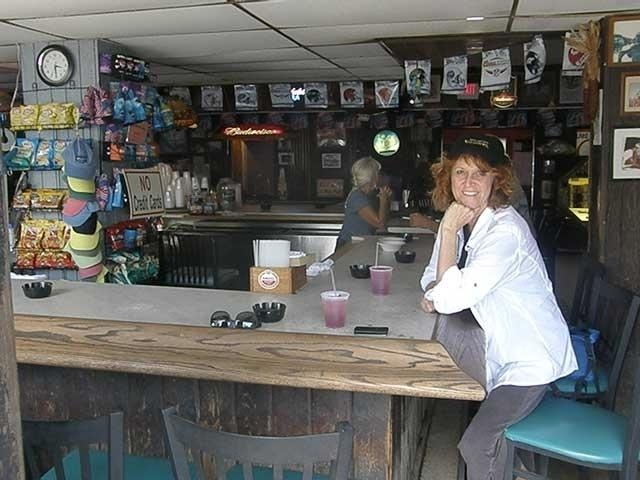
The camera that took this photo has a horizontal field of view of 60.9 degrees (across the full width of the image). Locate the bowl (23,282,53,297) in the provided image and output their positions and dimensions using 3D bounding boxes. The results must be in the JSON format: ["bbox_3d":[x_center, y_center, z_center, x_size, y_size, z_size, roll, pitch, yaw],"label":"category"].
[{"bbox_3d":[-1.550,0.262,3.026,0.107,0.046,0.111,1,-1,0],"label":"bowl"}]

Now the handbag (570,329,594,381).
[{"bbox_3d":[1.402,0.607,2.890,0.176,0.234,0.251,-3,-10,23],"label":"handbag"}]

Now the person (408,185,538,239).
[{"bbox_3d":[1.525,-0.230,4.605,0.880,0.443,0.539,-7,14,-21],"label":"person"}]

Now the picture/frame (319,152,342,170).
[{"bbox_3d":[0.233,-1.596,10.837,0.353,0.260,0.049,2,5,8],"label":"picture/frame"}]

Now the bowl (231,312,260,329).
[{"bbox_3d":[-0.338,0.372,2.471,0.106,0.067,0.107,0,11,0],"label":"bowl"}]

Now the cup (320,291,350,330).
[{"bbox_3d":[0.068,0.322,2.567,0.156,0.163,0.154,0,6,0],"label":"cup"}]

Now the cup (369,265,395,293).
[{"bbox_3d":[0.335,0.211,3.035,0.145,0.124,0.140,0,7,0],"label":"cup"}]

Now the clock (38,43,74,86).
[{"bbox_3d":[-2.288,-1.536,4.737,0.364,0.363,0.048,3,10,11],"label":"clock"}]

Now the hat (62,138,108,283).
[{"bbox_3d":[-2.032,-0.236,4.640,0.319,1.226,0.348,-5,12,-24],"label":"hat"}]

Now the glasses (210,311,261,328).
[{"bbox_3d":[-0.394,0.352,2.388,0.227,0.067,0.070,-2,-9,4],"label":"glasses"}]

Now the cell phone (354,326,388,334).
[{"bbox_3d":[0.231,0.406,2.430,0.150,0.023,0.067,2,11,13],"label":"cell phone"}]
